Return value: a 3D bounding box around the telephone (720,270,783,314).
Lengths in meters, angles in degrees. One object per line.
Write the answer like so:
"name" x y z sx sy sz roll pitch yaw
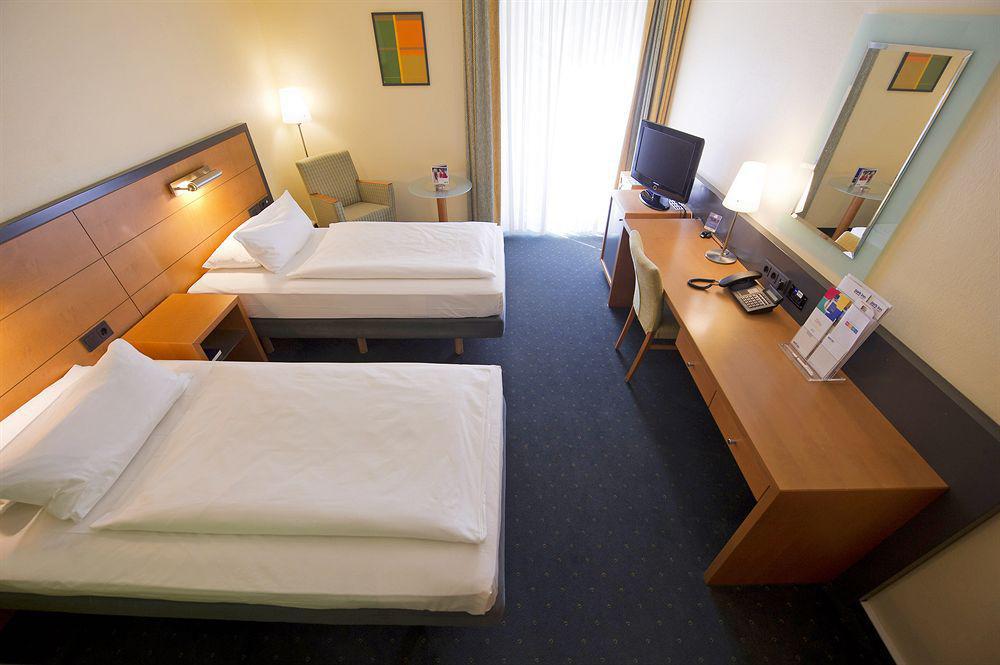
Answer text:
"telephone" 1.745 -0.272 4.313 0.335 0.132 0.299 -14 52 14

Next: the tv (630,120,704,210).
"tv" 1.407 -1.386 5.257 0.220 0.582 0.740 -11 55 -23

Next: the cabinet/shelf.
"cabinet/shelf" 1.170 -0.766 5.087 0.441 0.760 0.773 1 47 -4
